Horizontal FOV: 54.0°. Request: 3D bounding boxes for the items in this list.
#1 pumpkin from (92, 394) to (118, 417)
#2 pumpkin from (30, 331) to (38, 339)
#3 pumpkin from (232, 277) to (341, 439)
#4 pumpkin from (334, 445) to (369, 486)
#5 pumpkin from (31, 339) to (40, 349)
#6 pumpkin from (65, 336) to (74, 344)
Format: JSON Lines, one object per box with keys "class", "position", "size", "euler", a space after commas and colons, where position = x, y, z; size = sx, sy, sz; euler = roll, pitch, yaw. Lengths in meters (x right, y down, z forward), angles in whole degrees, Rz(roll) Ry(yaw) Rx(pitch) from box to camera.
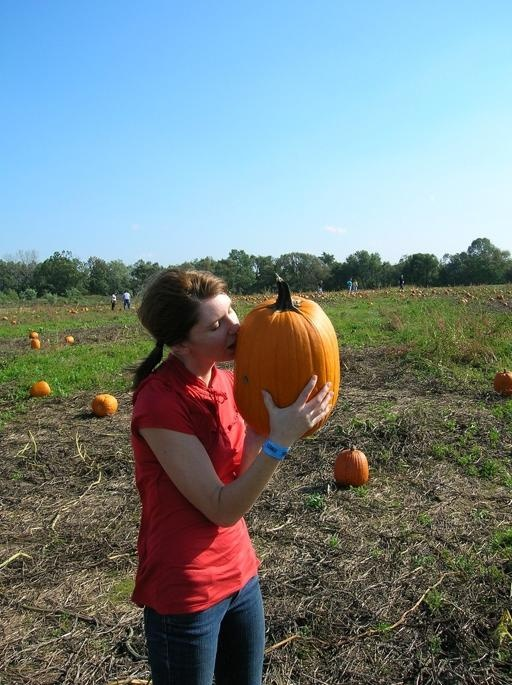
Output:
{"class": "pumpkin", "position": [-2.124, 0.846, 7.006], "size": [0.288, 0.310, 0.288], "euler": [2, 8, 5]}
{"class": "pumpkin", "position": [-7.212, -0.249, 16.261], "size": [0.188, 0.112, 0.198], "euler": [10, 25, 28]}
{"class": "pumpkin", "position": [0.085, 0.018, 2.033], "size": [0.500, 0.593, 0.466], "euler": [4, 10, 0]}
{"class": "pumpkin", "position": [0.870, 1.174, 4.840], "size": [0.319, 0.427, 0.327], "euler": [1, 3, -10]}
{"class": "pumpkin", "position": [-6.213, 0.038, 14.096], "size": [0.227, 0.329, 0.298], "euler": [4, 5, 8]}
{"class": "pumpkin", "position": [-5.702, -0.078, 15.313], "size": [0.295, 0.300, 0.302], "euler": [-4, 5, -16]}
